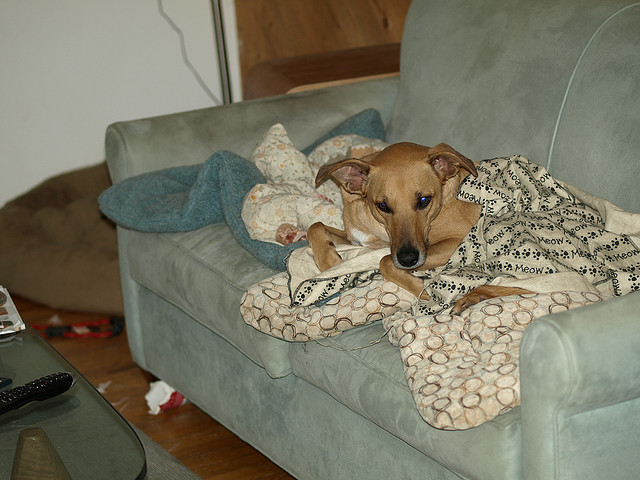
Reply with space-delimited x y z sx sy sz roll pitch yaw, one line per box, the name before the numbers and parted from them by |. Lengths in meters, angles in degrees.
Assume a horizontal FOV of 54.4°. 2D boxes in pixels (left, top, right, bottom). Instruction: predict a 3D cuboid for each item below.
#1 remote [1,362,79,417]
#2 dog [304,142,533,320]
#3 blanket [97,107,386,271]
remote | -0.934 0.505 2.076 0.236 0.064 0.055 -21 42 -41
dog | 0.278 -0.101 2.378 0.522 0.280 0.748 4 33 21
blanket | -0.431 -0.222 2.841 0.951 0.337 0.789 -18 31 -29
